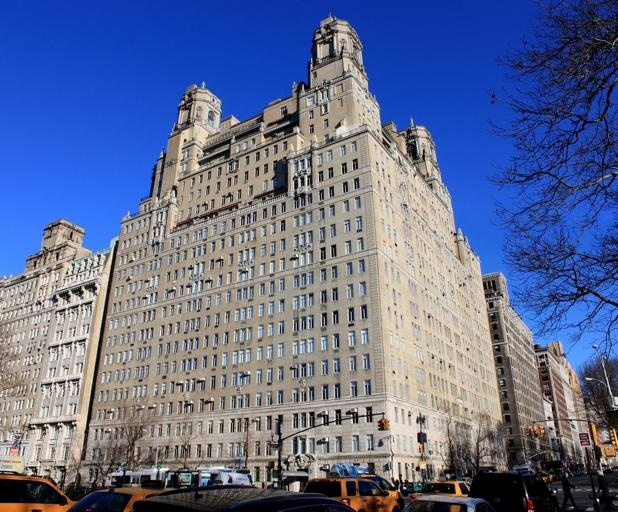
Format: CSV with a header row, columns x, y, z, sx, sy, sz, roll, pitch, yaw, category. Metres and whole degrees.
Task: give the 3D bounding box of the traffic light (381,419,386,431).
x,y,z,sx,sy,sz,roll,pitch,yaw,category
5.904,13.507,41.714,0.288,0.653,0.709,3,-9,21,traffic light
